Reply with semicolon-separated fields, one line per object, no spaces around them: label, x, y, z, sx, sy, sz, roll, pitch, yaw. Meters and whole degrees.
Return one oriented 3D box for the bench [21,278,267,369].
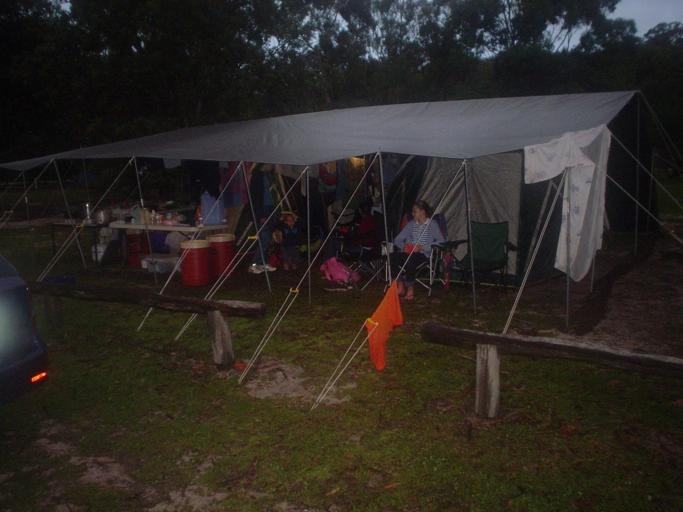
bench;-2.074;0.668;5.990;2.789;0.744;0.277;8;6;21

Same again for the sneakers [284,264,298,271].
sneakers;-0.921;0.201;9.794;0.277;0.128;0.095;-9;5;11

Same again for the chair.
chair;1.683;0.006;7.888;1.618;1.114;0.966;5;-6;-44

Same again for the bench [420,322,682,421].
bench;1.620;1.062;4.593;2.015;0.808;0.136;8;6;21
